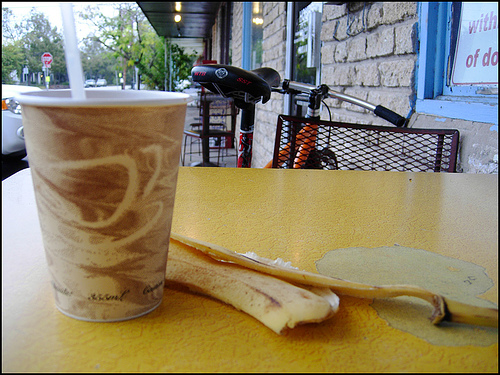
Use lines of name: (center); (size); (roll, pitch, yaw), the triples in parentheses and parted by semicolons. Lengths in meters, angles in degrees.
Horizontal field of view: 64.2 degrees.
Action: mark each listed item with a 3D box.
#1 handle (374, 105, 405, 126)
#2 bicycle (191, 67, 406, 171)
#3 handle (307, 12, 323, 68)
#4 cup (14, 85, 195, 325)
handle: (0.507, -0.263, 1.458); (0.049, 0.050, 0.141); (-33, 46, -14)
bicycle: (0.177, -0.194, 1.615); (0.454, 0.367, 0.620); (6, 15, -31)
handle: (0.486, -1.155, 3.132); (0.069, 0.406, 0.184); (-6, 16, -24)
cup: (-0.148, 0.023, 0.442); (0.174, 0.246, 0.078); (-5, 15, -20)
